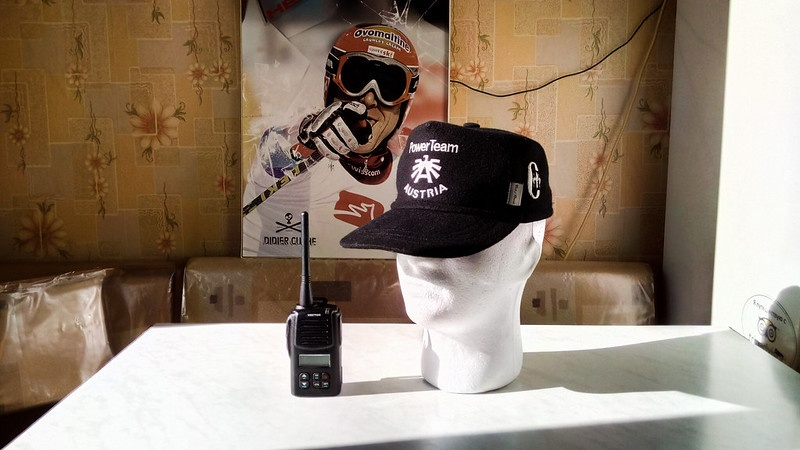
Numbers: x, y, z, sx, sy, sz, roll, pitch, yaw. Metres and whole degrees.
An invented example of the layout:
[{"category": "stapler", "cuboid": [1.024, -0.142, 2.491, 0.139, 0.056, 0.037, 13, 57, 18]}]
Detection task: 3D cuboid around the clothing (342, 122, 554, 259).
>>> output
[{"category": "clothing", "cuboid": [0.203, -0.143, 2.441, 0.769, 0.519, 0.272, 4, 5, 10]}]
